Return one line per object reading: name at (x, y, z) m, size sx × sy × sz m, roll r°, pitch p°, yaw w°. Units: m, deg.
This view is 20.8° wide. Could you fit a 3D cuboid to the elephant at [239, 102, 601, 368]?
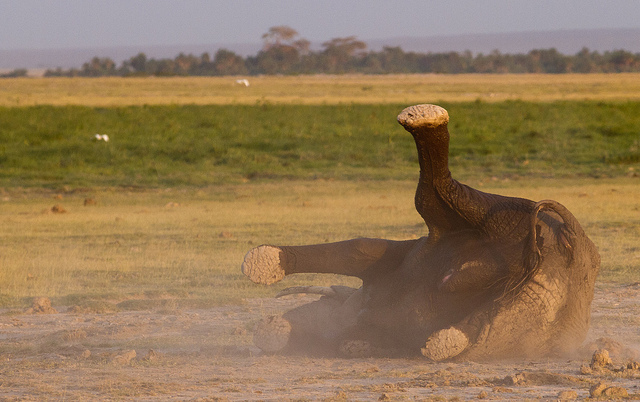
elephant at (3.354, 2.498, 61.375) m, size 8.783 × 10.349 × 15.733 m, roll 1°, pitch 0°, yaw -13°
